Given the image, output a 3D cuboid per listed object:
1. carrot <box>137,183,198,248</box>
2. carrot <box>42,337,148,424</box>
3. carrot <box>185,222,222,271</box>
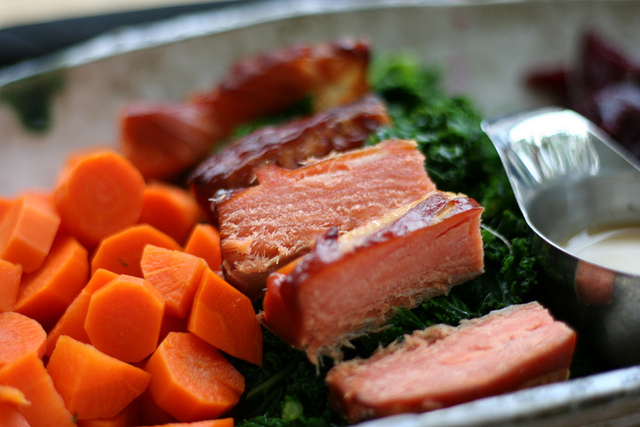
[{"bbox_3d":[-0.436,0.011,1.710,0.144,0.139,0.082,18,8,12],"label":"carrot"},{"bbox_3d":[-0.531,0.392,1.402,0.079,0.197,0.205,-50,20,53],"label":"carrot"},{"bbox_3d":[-0.293,0.098,1.683,0.110,0.116,0.121,1,54,6],"label":"carrot"}]
